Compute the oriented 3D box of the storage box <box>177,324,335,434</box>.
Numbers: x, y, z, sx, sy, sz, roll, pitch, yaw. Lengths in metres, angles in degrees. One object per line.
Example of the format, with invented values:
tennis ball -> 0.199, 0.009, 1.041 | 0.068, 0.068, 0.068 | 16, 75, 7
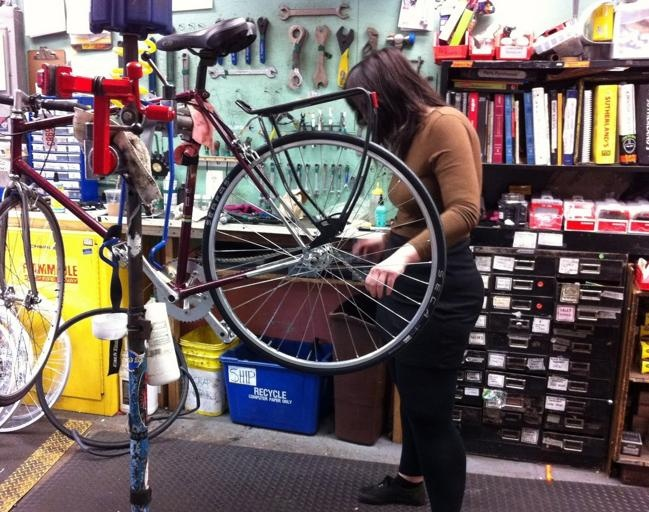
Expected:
storage box -> -0.374, 0.768, 3.637 | 0.894, 0.703, 0.646 | 3, 7, 13
